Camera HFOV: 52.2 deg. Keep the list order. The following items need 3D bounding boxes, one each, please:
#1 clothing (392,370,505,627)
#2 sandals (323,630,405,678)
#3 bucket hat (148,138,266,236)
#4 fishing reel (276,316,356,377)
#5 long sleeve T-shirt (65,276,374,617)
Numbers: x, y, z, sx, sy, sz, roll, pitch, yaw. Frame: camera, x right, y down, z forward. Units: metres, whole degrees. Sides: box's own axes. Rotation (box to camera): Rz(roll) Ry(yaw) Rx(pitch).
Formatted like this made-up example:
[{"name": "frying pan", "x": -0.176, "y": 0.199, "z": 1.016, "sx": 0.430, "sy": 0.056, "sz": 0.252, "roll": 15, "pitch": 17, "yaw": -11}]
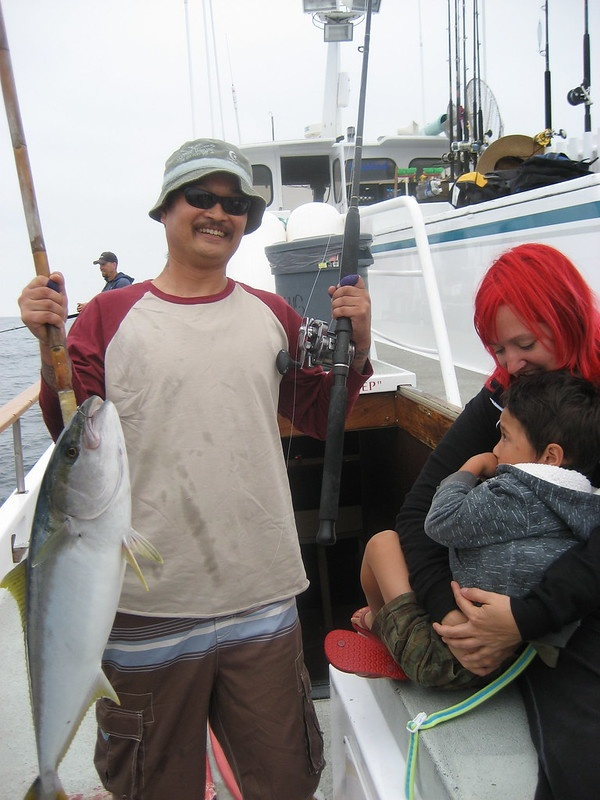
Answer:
[{"name": "clothing", "x": 0.350, "y": 0.218, "z": 1.484, "sx": 0.190, "sy": 0.467, "sz": 0.427, "roll": 15, "pitch": -10, "yaw": 9}, {"name": "sandals", "x": 0.145, "y": 0.599, "z": 1.439, "sx": 0.188, "sy": 0.040, "sz": 0.096, "roll": 8, "pitch": 13, "yaw": 21}, {"name": "bucket hat", "x": -0.221, "y": -0.562, "z": 1.505, "sx": 0.254, "sy": 0.150, "sz": 0.244, "roll": 5, "pitch": 4, "yaw": 9}, {"name": "fishing reel", "x": 0.038, "y": -0.142, "z": 1.622, "sx": 0.195, "sy": 0.126, "sz": 0.134, "roll": -1, "pitch": -4, "yaw": -21}, {"name": "long sleeve T-shirt", "x": -0.197, "y": 0.119, "z": 1.536, "sx": 0.745, "sy": 0.769, "sz": 0.470, "roll": -3, "pitch": 8, "yaw": -17}]
